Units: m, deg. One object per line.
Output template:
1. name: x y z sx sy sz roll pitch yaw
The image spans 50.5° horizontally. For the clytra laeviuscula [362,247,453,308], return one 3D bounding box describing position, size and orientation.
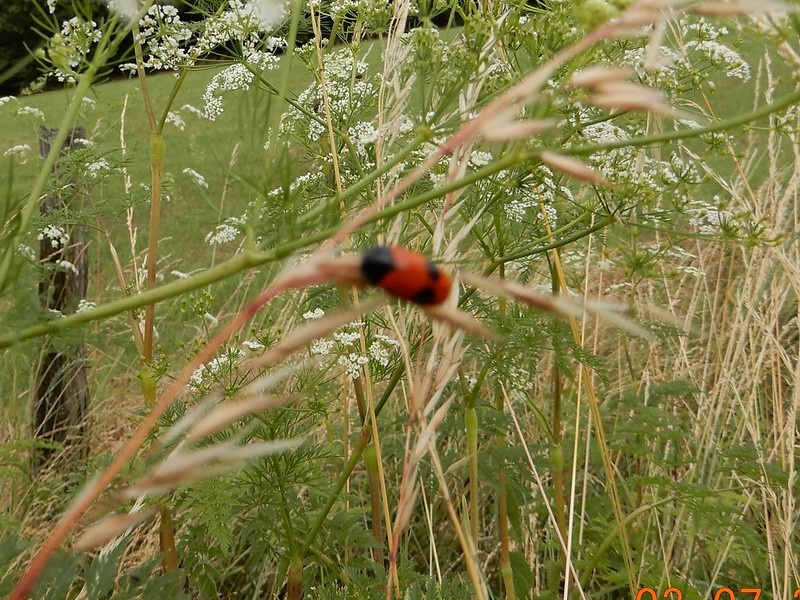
1. clytra laeviuscula: 0.011 -0.045 1.491 0.131 0.100 0.047 10 -37 -7
